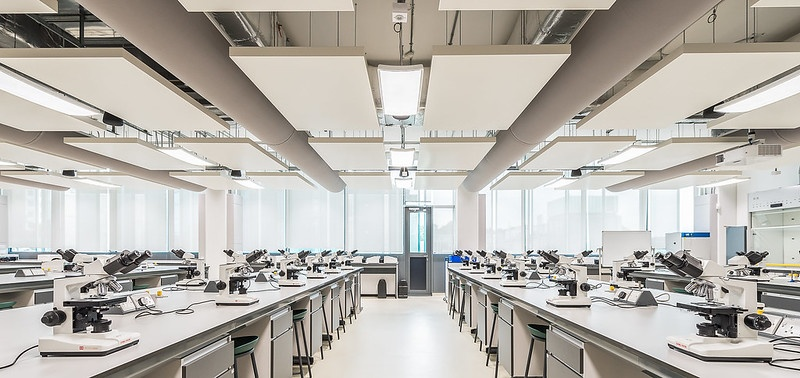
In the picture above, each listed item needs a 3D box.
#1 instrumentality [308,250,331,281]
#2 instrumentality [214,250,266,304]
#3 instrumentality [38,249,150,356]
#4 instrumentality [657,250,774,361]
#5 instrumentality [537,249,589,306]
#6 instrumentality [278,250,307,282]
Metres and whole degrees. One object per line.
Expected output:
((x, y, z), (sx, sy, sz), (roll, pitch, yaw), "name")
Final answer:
((-1.781, 1.650, 9.616), (0.607, 0.525, 0.367), (-2, -1, -3), "instrumentality")
((-2.588, 1.425, 7.169), (0.835, 0.775, 0.587), (0, -6, -9), "instrumentality")
((-3.922, 1.443, 5.562), (1.123, 1.253, 0.498), (0, 3, -5), "instrumentality")
((4.028, 1.510, 5.783), (1.572, 1.180, 1.009), (5, -5, -1), "instrumentality")
((2.636, 1.456, 7.032), (0.826, 0.761, 0.558), (0, -9, 12), "instrumentality")
((-2.095, 1.529, 8.502), (0.666, 0.599, 0.463), (2, -1, -13), "instrumentality")
